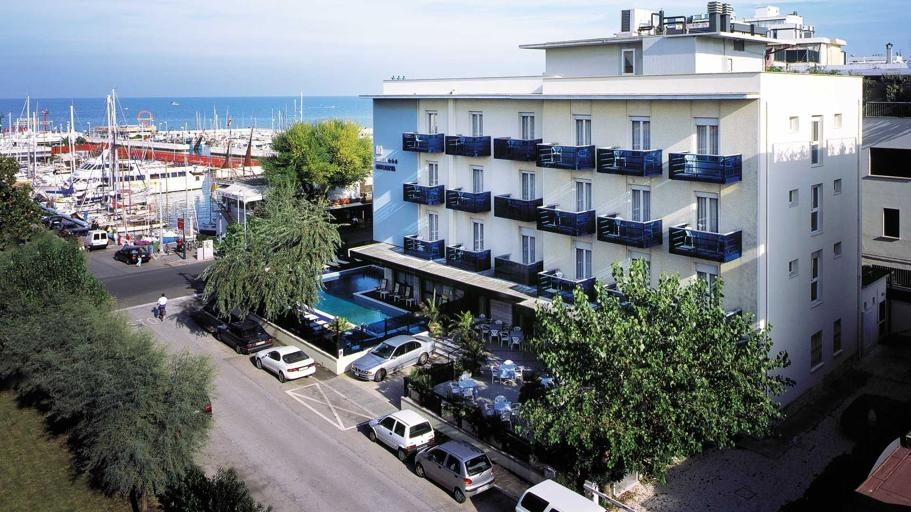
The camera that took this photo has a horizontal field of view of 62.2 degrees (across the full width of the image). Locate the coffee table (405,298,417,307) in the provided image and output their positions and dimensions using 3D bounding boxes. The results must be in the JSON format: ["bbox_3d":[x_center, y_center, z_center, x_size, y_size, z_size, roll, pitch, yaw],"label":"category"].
[{"bbox_3d":[-3.826,4.084,65.193,0.736,0.516,0.728,-9,11,-43],"label":"coffee table"}]

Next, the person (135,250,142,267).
[{"bbox_3d":[-32.868,0.266,78.286,0.679,1.358,0.883,-6,15,-13],"label":"person"}]

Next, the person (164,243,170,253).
[{"bbox_3d":[-31.521,-0.752,82.810,0.631,0.862,0.262,4,-18,-4],"label":"person"}]

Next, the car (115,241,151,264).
[{"bbox_3d":[-33.787,-0.112,79.091,3.474,1.708,1.759,3,15,21],"label":"car"}]

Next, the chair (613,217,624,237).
[{"bbox_3d":[11.603,-1.993,53.851,0.950,1.388,0.960,15,22,43],"label":"chair"}]

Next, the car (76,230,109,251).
[{"bbox_3d":[-39.439,-1.558,82.117,1.633,1.372,2.758,-12,22,-42],"label":"car"}]
